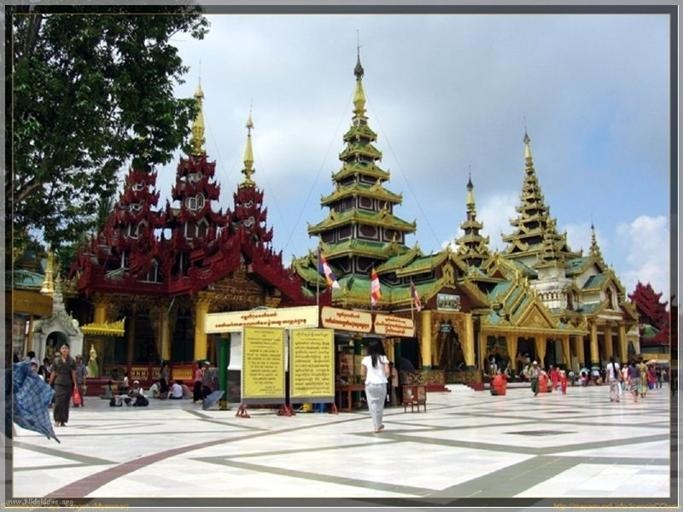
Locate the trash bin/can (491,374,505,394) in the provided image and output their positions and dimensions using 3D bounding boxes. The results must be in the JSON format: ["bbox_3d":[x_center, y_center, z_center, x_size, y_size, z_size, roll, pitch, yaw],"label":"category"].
[{"bbox_3d":[6.450,5.340,29.531,0.604,0.865,0.621,3,-10,3],"label":"trash bin/can"}]

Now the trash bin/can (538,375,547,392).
[{"bbox_3d":[8.737,5.521,31.024,0.364,0.735,0.791,-5,-12,15],"label":"trash bin/can"}]

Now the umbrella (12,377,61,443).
[{"bbox_3d":[-4.574,2.202,10.576,0.546,0.925,0.535,3,-13,-23],"label":"umbrella"}]

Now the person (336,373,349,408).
[{"bbox_3d":[-0.022,3.691,19.446,0.317,0.978,0.439,-2,-12,-1],"label":"person"}]
